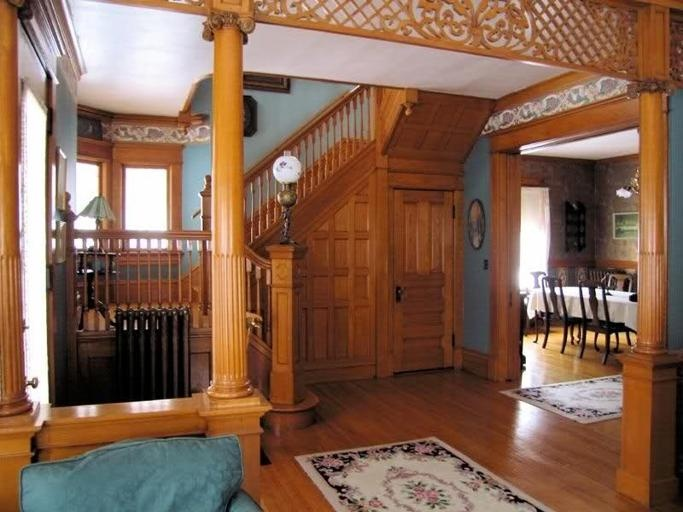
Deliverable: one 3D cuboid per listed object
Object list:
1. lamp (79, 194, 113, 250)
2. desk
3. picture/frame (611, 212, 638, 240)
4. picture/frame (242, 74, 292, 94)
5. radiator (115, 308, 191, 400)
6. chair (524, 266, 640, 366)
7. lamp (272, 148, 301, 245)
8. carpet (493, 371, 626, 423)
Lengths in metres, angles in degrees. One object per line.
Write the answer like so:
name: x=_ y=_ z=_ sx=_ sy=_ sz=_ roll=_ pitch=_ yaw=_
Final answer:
lamp: x=-3.229 y=-0.446 z=7.764 sx=0.411 sy=0.681 sz=0.422 roll=6 pitch=4 yaw=1
desk: x=-2.831 y=0.381 z=6.680 sx=0.511 sy=0.831 sz=0.532 roll=5 pitch=-7 yaw=7
picture/frame: x=5.211 y=-0.549 z=10.723 sx=0.023 sy=0.451 sz=0.601 roll=-3 pitch=5 yaw=-24
picture/frame: x=-1.179 y=-2.724 z=9.331 sx=0.737 sy=0.237 sz=0.241 roll=1 pitch=6 yaw=-7
radiator: x=-1.896 y=0.954 z=5.866 sx=0.791 sy=1.347 sz=0.339 roll=2 pitch=35 yaw=-15
chair: x=3.598 y=0.903 z=8.644 sx=1.052 sy=1.174 sz=1.874 roll=1 pitch=6 yaw=-7
lamp: x=-0.567 y=-0.597 z=6.230 sx=0.344 sy=0.975 sz=0.359 roll=0 pitch=-6 yaw=40
carpet: x=2.626 y=1.551 z=6.436 sx=1.333 sy=0.064 sz=1.185 roll=-2 pitch=7 yaw=-32
